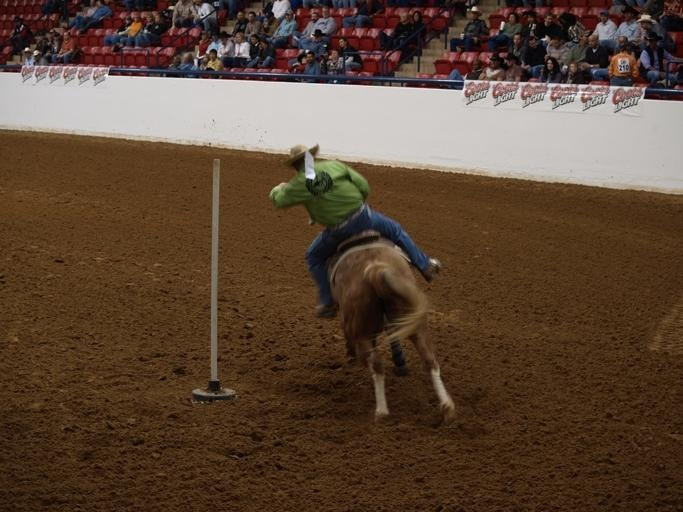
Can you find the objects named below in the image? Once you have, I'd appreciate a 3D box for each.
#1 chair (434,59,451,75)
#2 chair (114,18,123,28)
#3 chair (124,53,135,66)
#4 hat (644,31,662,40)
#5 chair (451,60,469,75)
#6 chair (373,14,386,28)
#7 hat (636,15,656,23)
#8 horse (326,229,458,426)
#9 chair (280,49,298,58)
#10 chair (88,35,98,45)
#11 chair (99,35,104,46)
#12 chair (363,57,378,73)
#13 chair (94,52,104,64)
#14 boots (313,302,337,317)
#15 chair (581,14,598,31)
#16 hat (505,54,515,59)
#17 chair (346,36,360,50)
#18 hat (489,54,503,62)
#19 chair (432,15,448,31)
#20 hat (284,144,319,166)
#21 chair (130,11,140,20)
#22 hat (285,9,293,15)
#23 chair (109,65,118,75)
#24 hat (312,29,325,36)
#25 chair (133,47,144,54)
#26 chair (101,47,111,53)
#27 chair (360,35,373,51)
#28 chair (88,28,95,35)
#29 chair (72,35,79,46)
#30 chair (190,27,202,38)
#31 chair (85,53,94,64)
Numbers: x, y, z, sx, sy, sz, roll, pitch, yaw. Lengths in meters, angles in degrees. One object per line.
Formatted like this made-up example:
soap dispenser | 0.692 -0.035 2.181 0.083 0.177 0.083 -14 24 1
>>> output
chair | 2.499 -4.692 17.959 0.464 0.295 0.341 0 10 13
chair | -8.112 -8.413 26.078 0.321 0.332 0.775 -7 18 -22
chair | -6.851 -6.313 23.178 0.343 0.416 0.697 -5 18 -15
hat | 6.374 -4.515 14.828 0.319 0.110 0.350 3 -9 35
chair | 2.870 -4.520 17.342 0.437 0.415 0.365 5 15 20
chair | 1.036 -6.655 20.490 0.441 0.439 0.424 4 34 6
hat | 6.321 -4.959 15.123 0.295 0.077 0.276 -6 13 -25
horse | 0.339 0.681 6.936 0.691 1.716 0.920 -5 19 -15
chair | -1.507 -5.721 20.431 0.418 0.211 0.368 0 5 4
chair | -8.888 -7.667 25.734 0.619 0.344 0.227 13 22 36
chair | -8.616 -7.637 25.631 0.217 0.342 0.299 -6 19 -16
chair | 0.718 -4.993 18.927 0.415 0.414 0.421 8 25 14
chair | -8.203 -6.611 24.253 0.280 0.382 0.587 -8 19 -22
boots | -0.185 0.574 7.546 0.233 0.131 0.112 5 -1 -6
chair | 6.091 -5.722 17.801 0.459 0.517 0.497 7 25 21
hat | 3.681 -4.319 15.736 0.248 0.164 0.308 4 17 12
chair | 0.321 -5.928 20.052 0.334 0.376 0.398 3 17 5
hat | 3.381 -4.348 15.924 0.259 0.185 0.353 8 19 22
chair | 2.632 -6.260 19.501 0.584 0.342 0.391 -1 -5 10
hat | -0.407 -0.980 7.085 0.311 0.242 0.539 -1 17 -4
chair | -7.028 -8.114 24.534 0.304 0.325 1.162 -5 17 -15
hat | -1.559 -7.080 20.992 0.243 0.163 0.231 -15 4 -5
chair | -6.579 -5.318 20.843 0.315 0.260 2.579 -5 17 -16
hat | -0.681 -6.031 19.667 0.242 0.144 0.217 -2 -10 13
chair | -6.549 -6.607 23.253 0.334 0.180 0.714 -4 17 -14
chair | -7.931 -6.910 24.245 0.321 0.233 0.993 -6 18 -18
chair | 0.670 -5.916 20.109 0.466 0.378 0.406 3 15 8
chair | -9.135 -8.131 26.249 0.276 0.189 0.269 0 0 2
chair | -9.496 -7.647 25.663 0.212 0.346 1.005 -6 18 -18
chair | -4.788 -7.321 23.554 0.579 0.338 0.529 -1 6 -11
chair | -8.646 -6.697 24.575 0.245 0.347 0.523 -8 19 -23
